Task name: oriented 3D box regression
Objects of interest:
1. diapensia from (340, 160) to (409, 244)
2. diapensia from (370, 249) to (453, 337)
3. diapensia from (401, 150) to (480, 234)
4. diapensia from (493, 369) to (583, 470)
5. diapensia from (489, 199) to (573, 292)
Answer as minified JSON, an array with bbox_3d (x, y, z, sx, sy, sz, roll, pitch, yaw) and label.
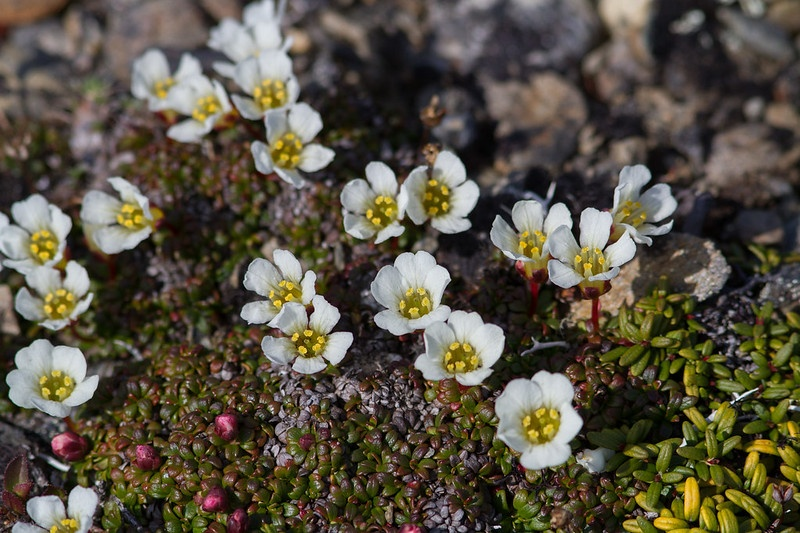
[{"bbox_3d":[-0.257,-0.558,8.102,0.698,0.381,0.719,-36,77,-8],"label":"diapensia"},{"bbox_3d":[0.098,0.249,7.727,0.627,0.736,0.861,-3,100,-4],"label":"diapensia"},{"bbox_3d":[0.409,-0.732,8.148,0.744,0.337,0.786,16,80,-2],"label":"diapensia"},{"bbox_3d":[1.224,1.337,7.334,0.797,0.361,0.837,-43,76,-4],"label":"diapensia"},{"bbox_3d":[1.352,-0.062,7.984,0.757,0.824,0.988,2,78,5],"label":"diapensia"}]
